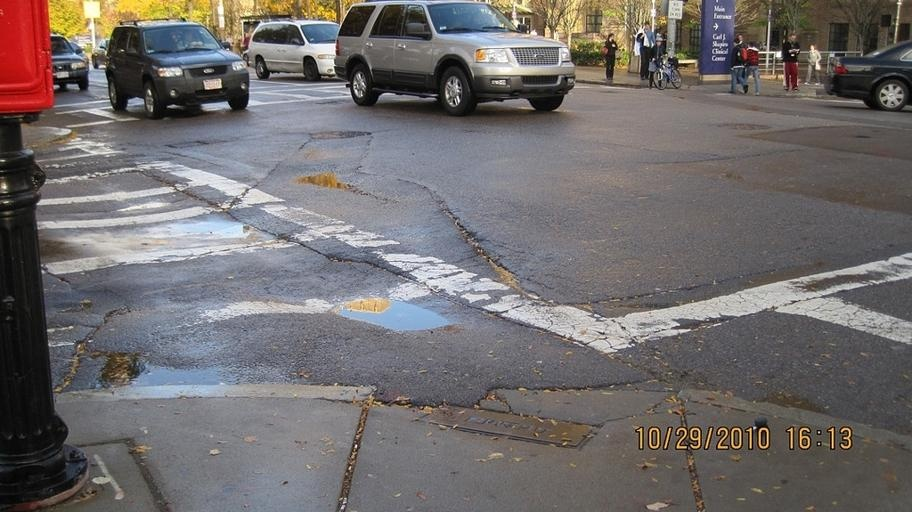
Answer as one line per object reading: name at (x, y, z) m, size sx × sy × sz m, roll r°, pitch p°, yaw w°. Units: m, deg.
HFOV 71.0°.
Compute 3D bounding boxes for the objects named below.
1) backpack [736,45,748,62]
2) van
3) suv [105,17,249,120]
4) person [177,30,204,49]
backpack at (11.554, -8.115, 25.502) m, size 0.408 × 0.647 × 0.482 m, roll 6°, pitch 22°, yaw 18°
van at (-7.473, -10.372, 31.975) m, size 7.325 × 2.444 × 3.717 m, roll 9°, pitch 15°, yaw 38°
suv at (-9.263, -6.004, 20.158) m, size 4.424 × 2.876 × 2.833 m, roll 15°, pitch 26°, yaw 39°
person at (-8.623, -6.849, 20.154) m, size 0.937 × 0.181 × 0.682 m, roll -3°, pitch 60°, yaw -12°
